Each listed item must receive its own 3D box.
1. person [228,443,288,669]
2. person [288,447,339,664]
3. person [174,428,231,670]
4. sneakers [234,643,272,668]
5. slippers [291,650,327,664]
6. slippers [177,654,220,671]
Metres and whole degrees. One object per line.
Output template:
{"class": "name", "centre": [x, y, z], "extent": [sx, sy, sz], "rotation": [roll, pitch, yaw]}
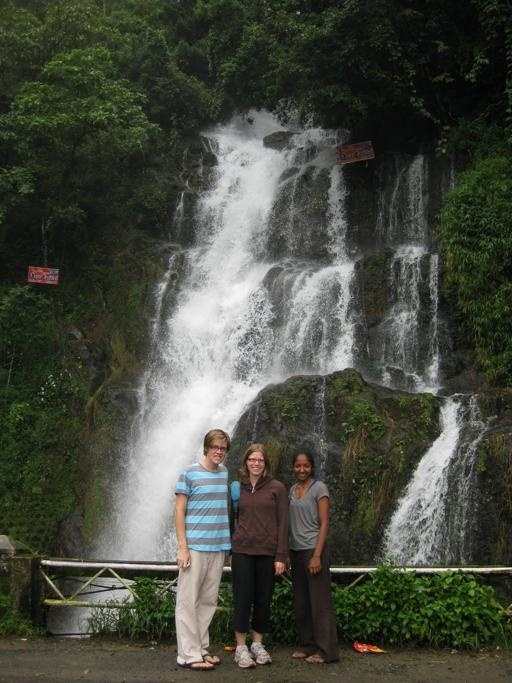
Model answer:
{"class": "person", "centre": [0.028, 1.896, 6.922], "extent": [0.517, 1.909, 0.403], "rotation": [1, -3, -1]}
{"class": "person", "centre": [0.487, 1.941, 7.055], "extent": [0.280, 1.853, 0.554], "rotation": [2, -3, -32]}
{"class": "person", "centre": [-0.462, 1.824, 6.863], "extent": [0.521, 2.065, 0.406], "rotation": [1, -3, -11]}
{"class": "sneakers", "centre": [-0.033, 2.766, 6.835], "extent": [0.295, 0.183, 0.252], "rotation": [2, -3, -27]}
{"class": "slippers", "centre": [0.473, 2.828, 6.914], "extent": [0.196, 0.072, 0.113], "rotation": [-9, -14, 29]}
{"class": "slippers", "centre": [-0.505, 2.796, 6.704], "extent": [0.248, 0.077, 0.140], "rotation": [-6, -8, 32]}
